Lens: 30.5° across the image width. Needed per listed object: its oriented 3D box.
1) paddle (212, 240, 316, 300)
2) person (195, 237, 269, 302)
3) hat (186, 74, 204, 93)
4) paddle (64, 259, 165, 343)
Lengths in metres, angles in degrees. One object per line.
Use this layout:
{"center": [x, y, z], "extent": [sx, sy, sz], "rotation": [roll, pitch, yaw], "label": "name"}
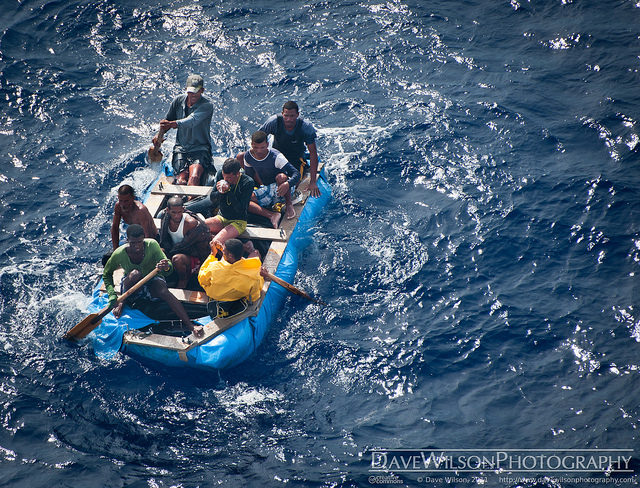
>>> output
{"center": [-1.283, 0.612, 25.051], "extent": [0.275, 1.907, 0.319], "rotation": [-55, 10, 9], "label": "paddle"}
{"center": [-1.772, 0.601, 24.708], "extent": [1.538, 1.559, 1.132], "rotation": [-10, 41, -15], "label": "person"}
{"center": [-2.821, -3.591, 26.361], "extent": [0.415, 0.298, 0.582], "rotation": [8, 27, -9], "label": "hat"}
{"center": [-4.259, 1.277, 24.622], "extent": [2.489, 0.356, 0.190], "rotation": [-38, 35, 14], "label": "paddle"}
